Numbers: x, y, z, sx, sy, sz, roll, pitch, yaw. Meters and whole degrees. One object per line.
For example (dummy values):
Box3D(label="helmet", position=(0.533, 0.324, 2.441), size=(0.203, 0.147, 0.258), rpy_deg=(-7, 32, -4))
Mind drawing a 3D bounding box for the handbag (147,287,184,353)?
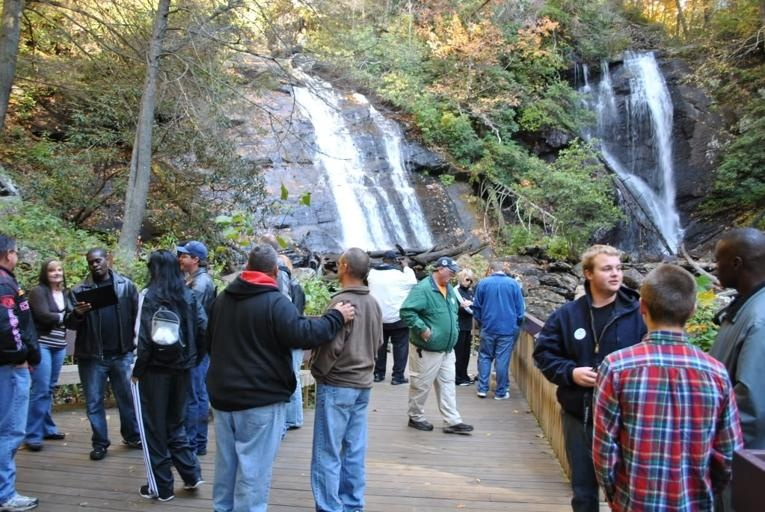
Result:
Box3D(label="handbag", position=(-2.553, 0.773, 7.961), size=(0.574, 0.738, 0.410), rpy_deg=(-2, -20, -20))

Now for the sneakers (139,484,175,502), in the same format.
Box3D(label="sneakers", position=(-2.712, 2.828, 8.163), size=(0.444, 0.189, 0.169), rpy_deg=(1, 2, 22))

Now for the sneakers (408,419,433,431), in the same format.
Box3D(label="sneakers", position=(0.552, 2.485, 10.004), size=(0.379, 0.148, 0.139), rpy_deg=(1, -3, 25))

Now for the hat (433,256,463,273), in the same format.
Box3D(label="hat", position=(0.985, 0.133, 9.886), size=(0.440, 0.236, 0.281), rpy_deg=(10, 7, -2))

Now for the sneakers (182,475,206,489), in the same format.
Box3D(label="sneakers", position=(-2.309, 2.766, 8.317), size=(0.271, 0.193, 0.240), rpy_deg=(-3, -6, -34))

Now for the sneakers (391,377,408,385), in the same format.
Box3D(label="sneakers", position=(0.299, 2.251, 12.303), size=(0.307, 0.126, 0.110), rpy_deg=(-1, 2, -10))

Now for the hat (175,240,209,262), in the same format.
Box3D(label="hat", position=(-2.493, -0.104, 8.853), size=(0.355, 0.187, 0.248), rpy_deg=(17, 1, -10))

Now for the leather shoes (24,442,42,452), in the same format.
Box3D(label="leather shoes", position=(-4.686, 2.543, 9.019), size=(0.249, 0.090, 0.102), rpy_deg=(9, 4, -25))

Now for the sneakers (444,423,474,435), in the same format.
Box3D(label="sneakers", position=(1.109, 2.506, 9.893), size=(0.424, 0.197, 0.165), rpy_deg=(1, -3, 3))

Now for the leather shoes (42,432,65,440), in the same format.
Box3D(label="leather shoes", position=(-4.538, 2.491, 9.341), size=(0.270, 0.117, 0.096), rpy_deg=(0, 19, -15))
